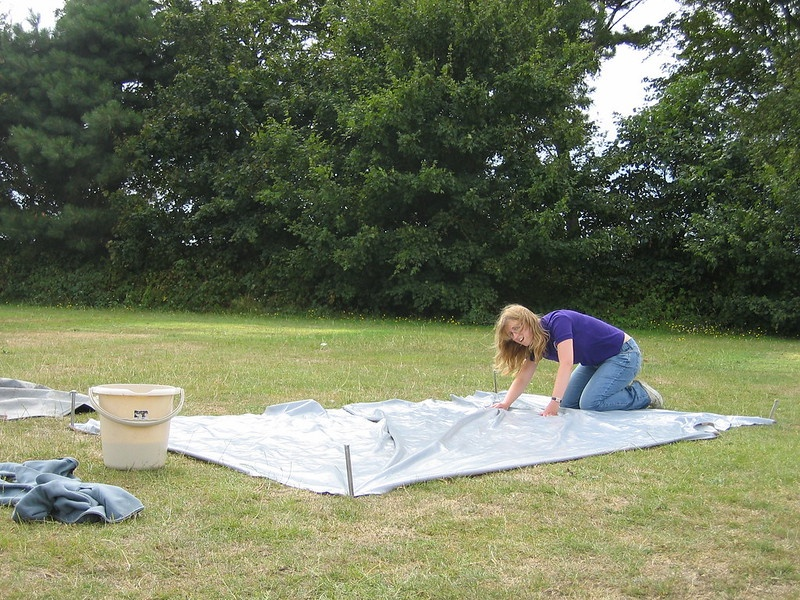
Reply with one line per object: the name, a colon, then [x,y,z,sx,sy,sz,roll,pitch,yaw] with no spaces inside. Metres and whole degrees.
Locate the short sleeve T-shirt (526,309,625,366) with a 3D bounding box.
short sleeve T-shirt: [2.997,0.662,16.884,1.445,1.027,0.433,-9,10,-23]

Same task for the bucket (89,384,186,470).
bucket: [-4.019,1.940,15.550,1.306,1.232,1.376,1,-2,0]

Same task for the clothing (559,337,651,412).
clothing: [3.517,1.340,17.080,1.417,1.745,0.999,7,-1,-17]

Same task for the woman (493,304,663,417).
woman: [3.012,1.079,17.194,2.878,1.855,1.465,3,-6,-23]
